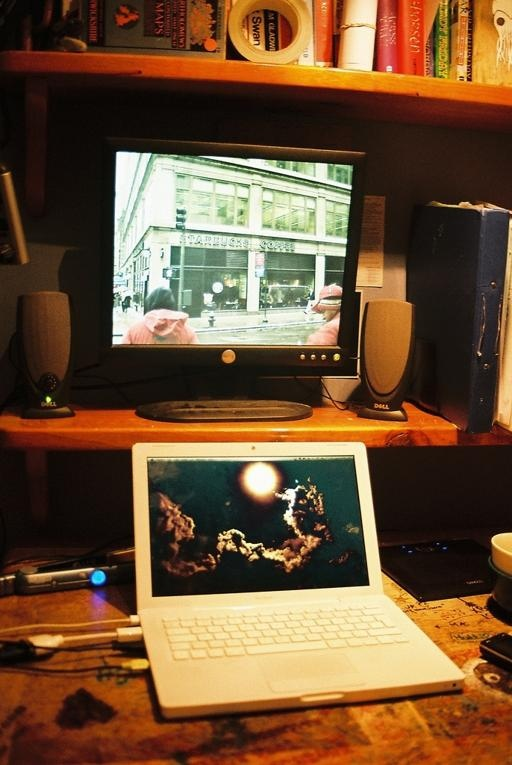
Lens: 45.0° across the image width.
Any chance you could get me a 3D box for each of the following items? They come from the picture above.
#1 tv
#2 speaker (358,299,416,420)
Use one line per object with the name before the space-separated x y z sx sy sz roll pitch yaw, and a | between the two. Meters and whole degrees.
tv | -0.035 -0.201 1.067 0.445 0.389 0.078 -2 6 -12
speaker | 0.228 -0.042 1.073 0.130 0.184 0.134 0 7 -11
